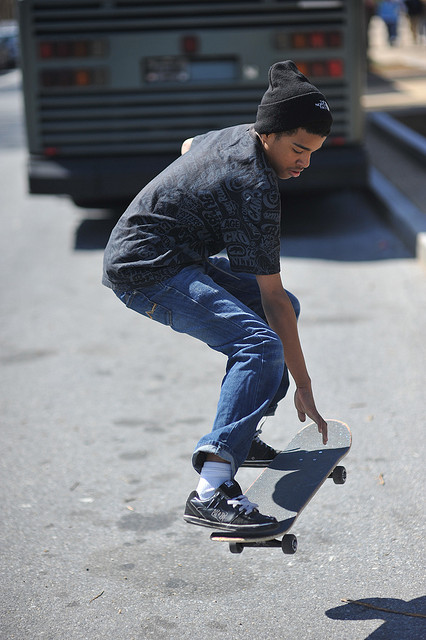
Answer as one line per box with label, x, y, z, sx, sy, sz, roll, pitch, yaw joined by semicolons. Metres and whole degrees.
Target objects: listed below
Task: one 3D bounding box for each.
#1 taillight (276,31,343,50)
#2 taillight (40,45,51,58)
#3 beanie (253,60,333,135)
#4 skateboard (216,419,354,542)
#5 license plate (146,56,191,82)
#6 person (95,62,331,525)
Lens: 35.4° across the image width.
taillight;0.982;-2.817;6.771;0.676;0.200;0.031;2;16;-5
taillight;-1.607;-2.552;6.378;0.103;0.113;0.036;2;15;-6
beanie;0.252;-0.700;2.104;0.224;0.243;0.208;12;17;31
skateboard;0.309;0.522;2.400;0.236;0.133;0.991;4;20;28
license plate;-0.467;-2.475;6.623;0.494;0.275;0.131;-5;17;-32
person;0.106;-0.122;2.175;0.590;1.386;0.850;-6;17;-32
